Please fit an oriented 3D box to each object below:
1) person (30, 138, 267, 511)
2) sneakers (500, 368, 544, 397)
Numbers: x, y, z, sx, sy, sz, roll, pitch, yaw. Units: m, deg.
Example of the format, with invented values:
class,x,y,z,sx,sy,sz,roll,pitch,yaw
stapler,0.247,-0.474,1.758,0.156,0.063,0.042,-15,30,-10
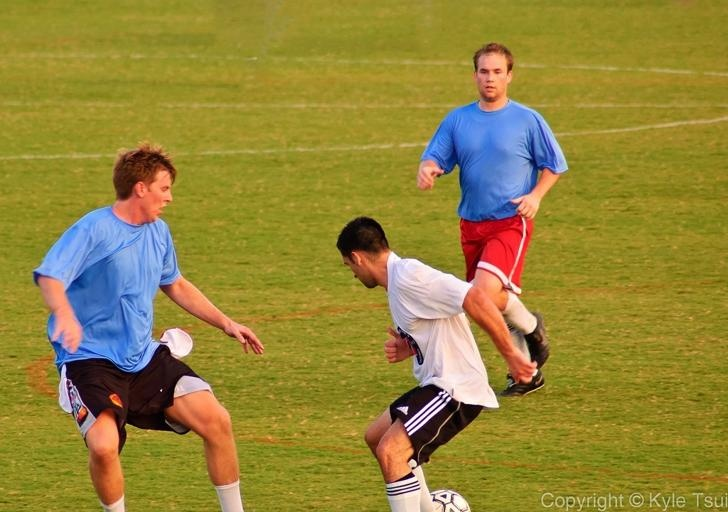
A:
class,x,y,z,sx,sy,sz,roll,pitch,yaw
person,-1.980,0.625,15.191,1.640,3.128,0.989,-2,11,-8
sneakers,1.548,1.205,16.754,0.585,0.183,0.175,-9,4,-18
